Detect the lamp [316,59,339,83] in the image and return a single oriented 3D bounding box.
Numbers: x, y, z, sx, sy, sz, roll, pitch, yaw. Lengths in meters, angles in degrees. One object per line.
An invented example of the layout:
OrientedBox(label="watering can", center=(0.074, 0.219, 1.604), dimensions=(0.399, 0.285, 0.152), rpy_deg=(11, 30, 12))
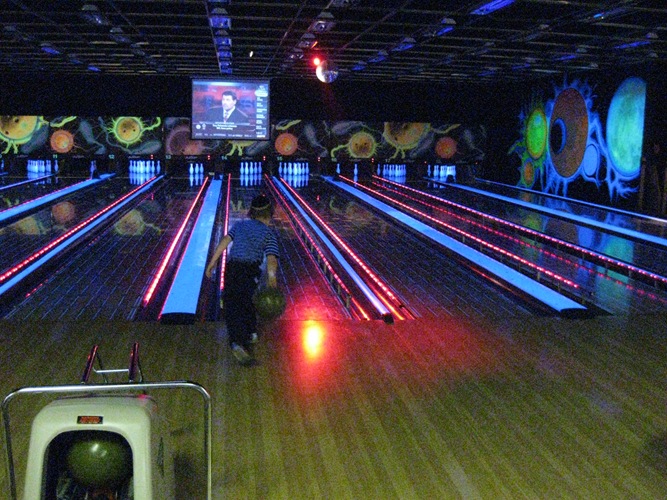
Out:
OrientedBox(label="lamp", center=(-0.168, -3.410, 8.462), dimensions=(0.366, 0.386, 0.465), rpy_deg=(-2, 15, -15))

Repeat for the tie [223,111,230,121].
OrientedBox(label="tie", center=(-2.545, -3.182, 10.605), dimensions=(0.165, 0.193, 0.062), rpy_deg=(18, 20, -3))

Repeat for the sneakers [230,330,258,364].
OrientedBox(label="sneakers", center=(-0.570, 0.651, 2.929), dimensions=(0.201, 0.215, 0.127), rpy_deg=(1, -5, -14))

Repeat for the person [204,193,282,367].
OrientedBox(label="person", center=(-0.584, 0.172, 2.961), dimensions=(0.467, 1.026, 0.515), rpy_deg=(-4, 14, -20))

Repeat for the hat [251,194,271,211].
OrientedBox(label="hat", center=(-0.490, -0.337, 3.047), dimensions=(0.109, 0.094, 0.120), rpy_deg=(-4, 29, -9))
